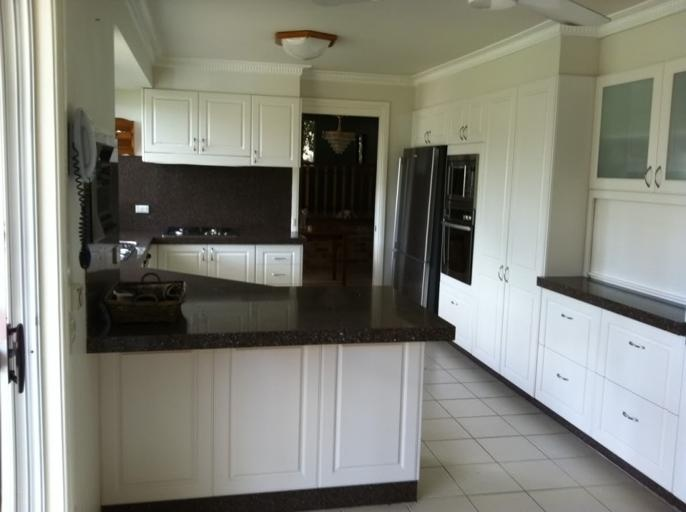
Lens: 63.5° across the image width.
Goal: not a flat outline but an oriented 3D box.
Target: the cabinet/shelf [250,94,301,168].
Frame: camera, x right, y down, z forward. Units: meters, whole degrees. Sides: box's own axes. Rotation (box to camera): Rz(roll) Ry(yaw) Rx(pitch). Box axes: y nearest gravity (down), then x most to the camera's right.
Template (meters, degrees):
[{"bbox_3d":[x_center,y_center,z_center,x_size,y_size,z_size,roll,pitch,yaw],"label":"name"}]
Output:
[{"bbox_3d":[-0.697,-1.296,5.891,0.639,0.943,0.628,0,4,-6],"label":"cabinet/shelf"}]

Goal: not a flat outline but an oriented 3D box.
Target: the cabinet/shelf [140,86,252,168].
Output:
[{"bbox_3d":[-1.424,-1.311,5.645,1.141,0.790,0.695,1,11,-7],"label":"cabinet/shelf"}]

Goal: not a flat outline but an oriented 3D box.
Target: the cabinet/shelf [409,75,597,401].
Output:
[{"bbox_3d":[1.478,-0.238,4.785,0.389,2.475,1.291,-3,13,-24],"label":"cabinet/shelf"}]

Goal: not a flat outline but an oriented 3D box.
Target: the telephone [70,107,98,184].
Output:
[{"bbox_3d":[-1.162,-0.492,2.467,0.092,0.315,0.119,0,12,-10],"label":"telephone"}]

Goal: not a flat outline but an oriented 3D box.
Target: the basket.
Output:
[{"bbox_3d":[-1.047,0.238,2.959,0.348,0.163,0.283,1,10,-10],"label":"basket"}]

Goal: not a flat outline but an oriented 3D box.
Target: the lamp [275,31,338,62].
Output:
[{"bbox_3d":[-0.292,-1.760,4.615,0.539,0.185,0.321,2,12,-4],"label":"lamp"}]
